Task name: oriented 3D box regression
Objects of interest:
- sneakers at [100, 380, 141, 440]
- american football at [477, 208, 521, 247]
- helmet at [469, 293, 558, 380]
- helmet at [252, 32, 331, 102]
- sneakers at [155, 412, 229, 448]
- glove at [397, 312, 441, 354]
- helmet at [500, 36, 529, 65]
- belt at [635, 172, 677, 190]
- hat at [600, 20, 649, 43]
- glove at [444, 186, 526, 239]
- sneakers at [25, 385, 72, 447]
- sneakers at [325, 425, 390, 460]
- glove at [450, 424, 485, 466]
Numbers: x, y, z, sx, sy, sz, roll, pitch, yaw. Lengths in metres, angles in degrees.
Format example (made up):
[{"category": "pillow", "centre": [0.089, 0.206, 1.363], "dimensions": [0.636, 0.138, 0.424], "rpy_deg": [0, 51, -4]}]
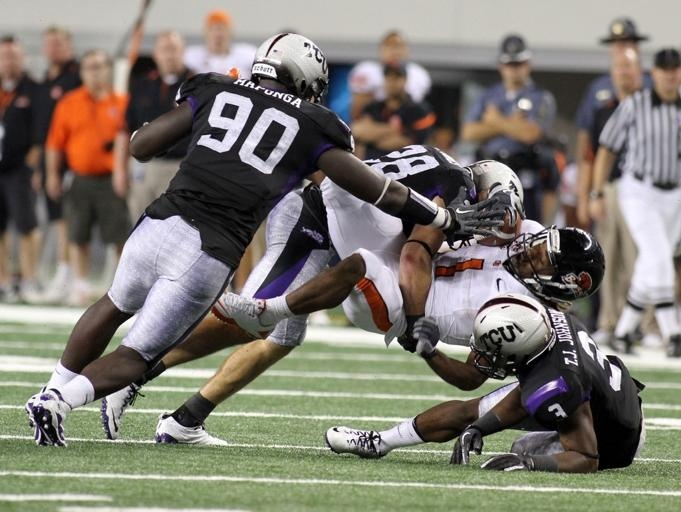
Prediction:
[{"category": "sneakers", "centre": [-0.969, 0.651, 4.542], "dimensions": [0.140, 0.316, 0.099], "rpy_deg": [-3, 11, 0]}, {"category": "american football", "centre": [0.741, -0.124, 4.835], "dimensions": [0.182, 0.169, 0.142], "rpy_deg": [-19, 10, -2]}, {"category": "helmet", "centre": [0.717, 0.328, 4.315], "dimensions": [0.342, 0.293, 0.272], "rpy_deg": [6, 43, 21]}, {"category": "helmet", "centre": [-0.192, -0.801, 4.575], "dimensions": [0.239, 0.284, 0.331], "rpy_deg": [30, 24, 32]}, {"category": "sneakers", "centre": [-0.624, 0.759, 4.580], "dimensions": [0.365, 0.151, 0.127], "rpy_deg": [6, -4, -12]}, {"category": "glove", "centre": [0.329, 0.335, 4.486], "dimensions": [0.168, 0.068, 0.127], "rpy_deg": [-20, -59, 45]}, {"category": "helmet", "centre": [1.425, -1.671, 8.515], "dimensions": [0.226, 0.245, 0.226], "rpy_deg": [7, 1, -9]}, {"category": "belt", "centre": [2.417, -0.557, 7.988], "dimensions": [0.341, 0.126, 0.062], "rpy_deg": [8, 2, 9]}, {"category": "hat", "centre": [2.198, -1.713, 8.040], "dimensions": [0.333, 0.218, 0.347], "rpy_deg": [8, 1, 15]}, {"category": "glove", "centre": [0.634, -0.152, 4.570], "dimensions": [0.292, 0.218, 0.131], "rpy_deg": [10, -14, 26]}, {"category": "sneakers", "centre": [-1.178, 0.627, 4.162], "dimensions": [0.114, 0.294, 0.131], "rpy_deg": [-19, 15, -28]}, {"category": "sneakers", "centre": [0.072, 0.812, 4.468], "dimensions": [0.307, 0.116, 0.138], "rpy_deg": [10, -22, -21]}, {"category": "glove", "centre": [0.524, 0.782, 4.308], "dimensions": [0.116, 0.160, 0.047], "rpy_deg": [21, 8, 22]}]
